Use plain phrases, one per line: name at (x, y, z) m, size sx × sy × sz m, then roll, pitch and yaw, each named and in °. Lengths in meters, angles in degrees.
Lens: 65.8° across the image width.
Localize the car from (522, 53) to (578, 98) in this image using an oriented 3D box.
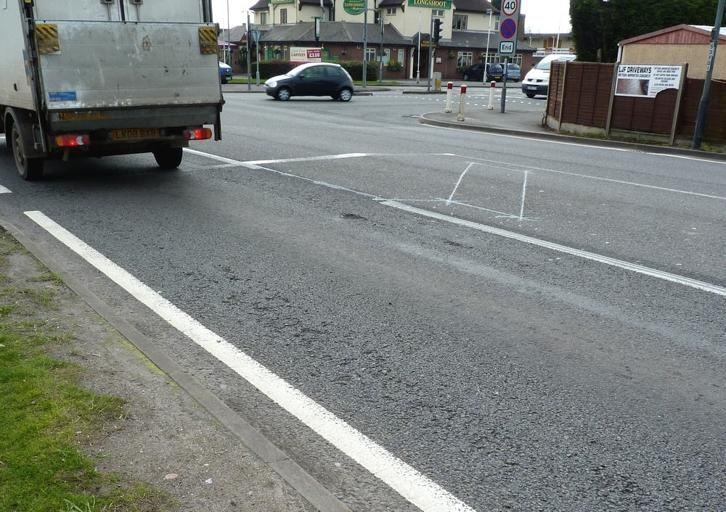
car at (11.477, -11.410, 36.156) m, size 1.886 × 2.527 × 3.855 m, roll 6°, pitch 19°, yaw 16°
